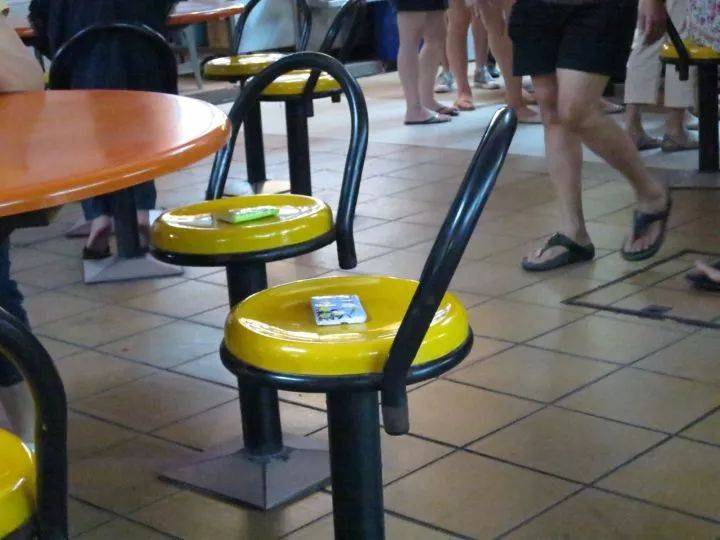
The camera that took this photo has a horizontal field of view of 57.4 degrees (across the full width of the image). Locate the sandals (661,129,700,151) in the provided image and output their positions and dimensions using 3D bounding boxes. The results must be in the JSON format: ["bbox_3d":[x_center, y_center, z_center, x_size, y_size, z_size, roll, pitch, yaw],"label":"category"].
[{"bbox_3d":[2.197,-0.883,4.516,0.261,0.099,0.117,-4,17,-11],"label":"sandals"}]

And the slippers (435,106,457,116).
[{"bbox_3d":[0.816,-1.515,6.243,0.228,0.058,0.084,17,31,40],"label":"slippers"}]

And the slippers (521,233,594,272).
[{"bbox_3d":[0.904,-0.094,2.962,0.312,0.119,0.152,-7,11,-5],"label":"slippers"}]

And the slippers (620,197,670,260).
[{"bbox_3d":[1.289,-0.161,2.936,0.134,0.312,0.100,24,14,31],"label":"slippers"}]

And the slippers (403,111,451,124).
[{"bbox_3d":[0.630,-1.362,5.978,0.366,0.069,0.147,-6,21,-5],"label":"slippers"}]
